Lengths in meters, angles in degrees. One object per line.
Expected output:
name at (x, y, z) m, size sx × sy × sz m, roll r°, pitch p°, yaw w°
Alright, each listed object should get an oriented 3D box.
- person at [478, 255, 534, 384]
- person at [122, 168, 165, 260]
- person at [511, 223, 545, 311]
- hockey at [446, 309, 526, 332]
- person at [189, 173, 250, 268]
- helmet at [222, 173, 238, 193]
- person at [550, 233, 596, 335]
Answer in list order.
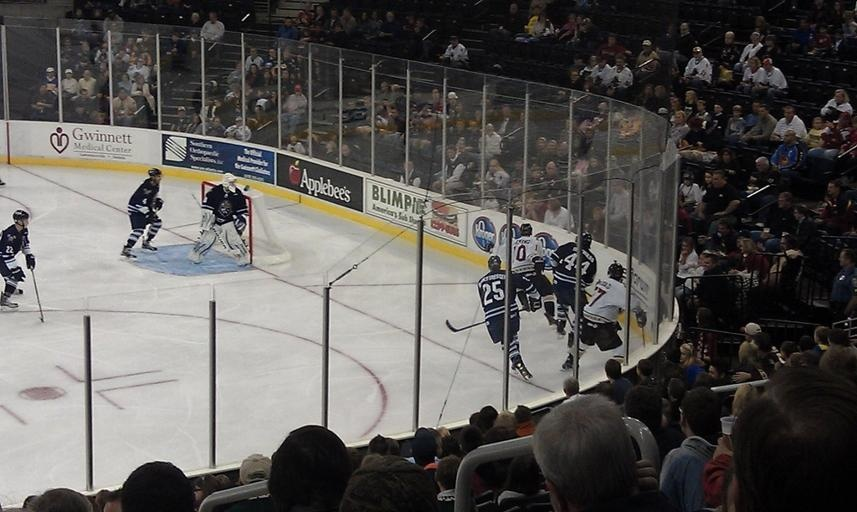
person at (1.273, 0.905, 16.034) m, size 1.019 × 1.759 × 0.785 m, roll -11°, pitch 0°, yaw 8°
person at (-6.050, -0.912, 22.809) m, size 0.842 × 1.789 × 1.029 m, roll 7°, pitch 14°, yaw 17°
person at (1.362, 0.092, 15.880) m, size 0.504 × 1.109 × 0.416 m, roll 1°, pitch 0°, yaw -19°
hockey at (0.642, 1.027, 16.012) m, size 1.493 × 0.337 × 0.160 m, roll -2°, pitch 1°, yaw -8°
person at (-4.330, -0.715, 22.368) m, size 1.417 × 1.770 × 0.567 m, roll 2°, pitch 2°, yaw -27°
helmet at (-4.095, -1.495, 22.329) m, size 0.341 × 0.354 × 0.216 m, roll 4°, pitch 14°, yaw -17°
person at (2.205, 0.427, 16.381) m, size 0.846 × 1.448 × 0.723 m, roll 13°, pitch 13°, yaw 32°
